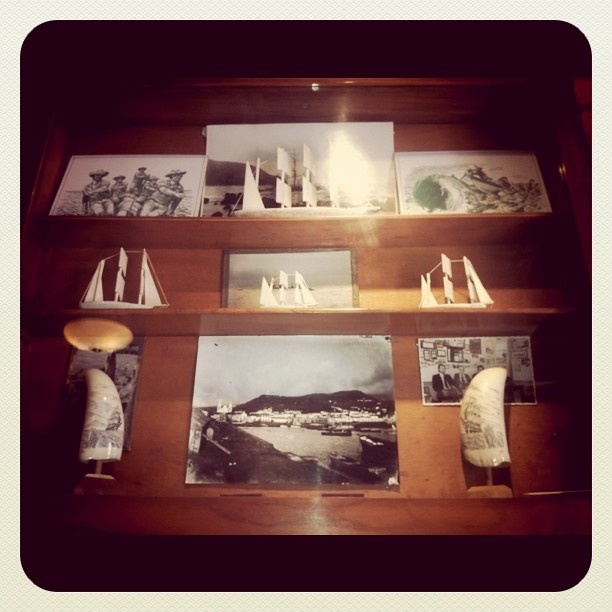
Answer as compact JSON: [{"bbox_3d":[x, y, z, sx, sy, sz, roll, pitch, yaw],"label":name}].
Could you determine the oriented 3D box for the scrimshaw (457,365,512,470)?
[{"bbox_3d":[0.490,0.300,1.510,0.130,0.264,0.054,-3,-16,16],"label":"scrimshaw"}]

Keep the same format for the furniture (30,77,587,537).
[{"bbox_3d":[0.013,0.037,1.562,1.445,0.988,0.424,-1,-13,1],"label":"furniture"}]

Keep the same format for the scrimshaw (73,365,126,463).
[{"bbox_3d":[-0.531,0.284,1.452,0.123,0.225,0.076,5,-29,-18],"label":"scrimshaw"}]

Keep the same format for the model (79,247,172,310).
[{"bbox_3d":[-0.533,-0.082,1.624,0.253,0.178,0.059,1,1,16],"label":"model"}]

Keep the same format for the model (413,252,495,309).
[{"bbox_3d":[0.439,-0.064,1.623,0.225,0.149,0.081,-3,-7,21],"label":"model"}]
